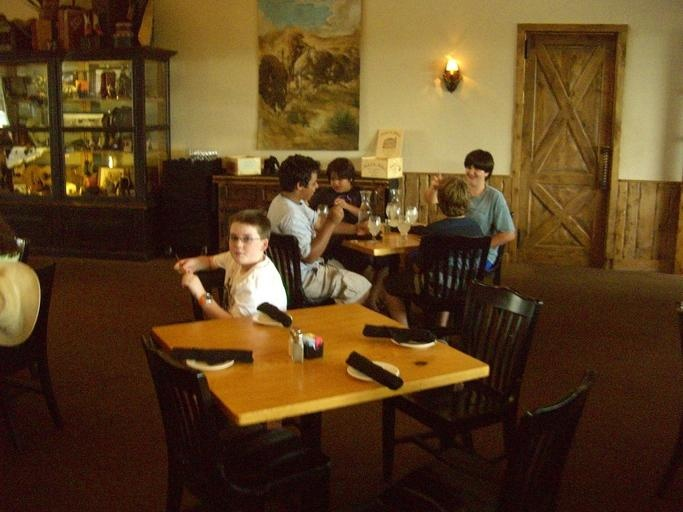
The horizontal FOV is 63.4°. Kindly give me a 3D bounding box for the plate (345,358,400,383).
[{"bbox_3d":[0.126,0.436,2.119,0.206,0.024,0.159,-4,14,-20],"label":"plate"}]

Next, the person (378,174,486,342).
[{"bbox_3d":[0.706,0.055,4.258,0.470,1.254,0.640,-4,9,-40],"label":"person"}]

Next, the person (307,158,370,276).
[{"bbox_3d":[-0.075,-0.415,5.485,0.447,1.150,0.626,-1,39,-22],"label":"person"}]

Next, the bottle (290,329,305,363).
[{"bbox_3d":[-0.176,0.353,2.195,0.053,0.128,0.058,-1,12,-7],"label":"bottle"}]

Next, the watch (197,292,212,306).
[{"bbox_3d":[-0.673,0.215,2.720,0.059,0.063,0.044,-2,0,-5],"label":"watch"}]

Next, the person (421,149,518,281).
[{"bbox_3d":[1.088,-0.388,4.688,0.730,1.049,0.600,5,25,16],"label":"person"}]

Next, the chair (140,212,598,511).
[{"bbox_3d":[-0.226,0.458,2.425,1.211,1.124,1.400,-6,14,-28],"label":"chair"}]

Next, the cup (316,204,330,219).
[{"bbox_3d":[-0.146,-0.360,4.507,0.102,0.106,0.105,1,9,0],"label":"cup"}]

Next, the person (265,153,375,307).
[{"bbox_3d":[-0.190,-0.225,4.256,0.768,1.073,0.672,0,12,-18],"label":"person"}]
